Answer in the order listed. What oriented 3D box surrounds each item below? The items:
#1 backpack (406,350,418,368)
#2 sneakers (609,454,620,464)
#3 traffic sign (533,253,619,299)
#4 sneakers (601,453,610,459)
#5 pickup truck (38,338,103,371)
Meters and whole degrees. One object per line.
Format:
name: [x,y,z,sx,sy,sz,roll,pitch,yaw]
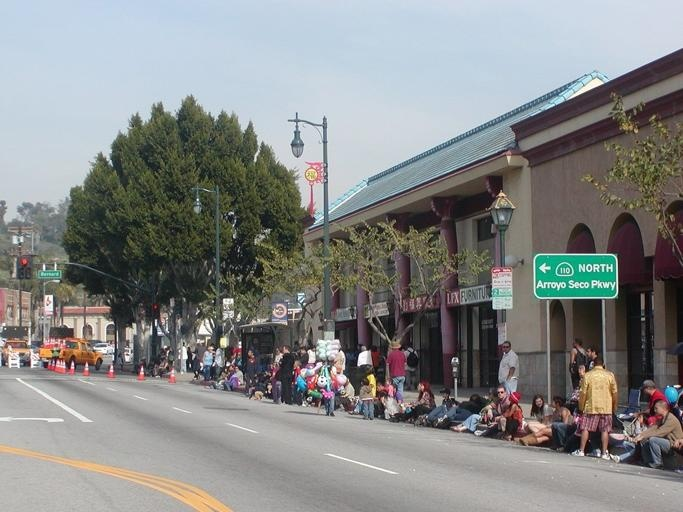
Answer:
backpack: [3.004,4.271,38.401,0.418,0.711,0.657,3,-7,-10]
sneakers: [6.120,4.529,20.699,0.199,0.214,0.559,-1,-14,14]
traffic sign: [6.261,0.539,24.692,2.150,1.197,0.263,1,-10,2]
sneakers: [5.966,4.521,20.904,0.241,0.134,0.084,4,1,-38]
pickup truck: [-19.987,7.327,69.537,2.350,2.342,4.795,2,-5,23]
